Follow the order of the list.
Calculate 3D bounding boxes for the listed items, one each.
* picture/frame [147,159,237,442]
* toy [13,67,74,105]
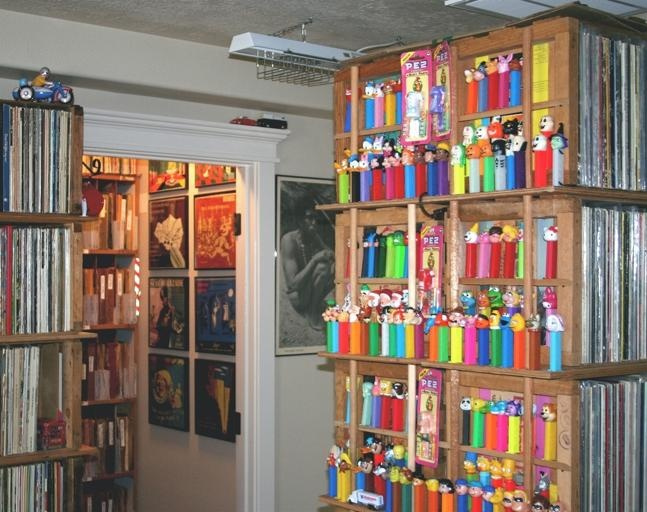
[{"bbox_3d":[-0.821,0.223,6.275,0.234,1.731,1.141,1,-2,-28],"label":"picture/frame"},{"bbox_3d":[-1.327,-0.800,4.828,0.323,0.184,0.147,-2,12,-20],"label":"toy"}]
